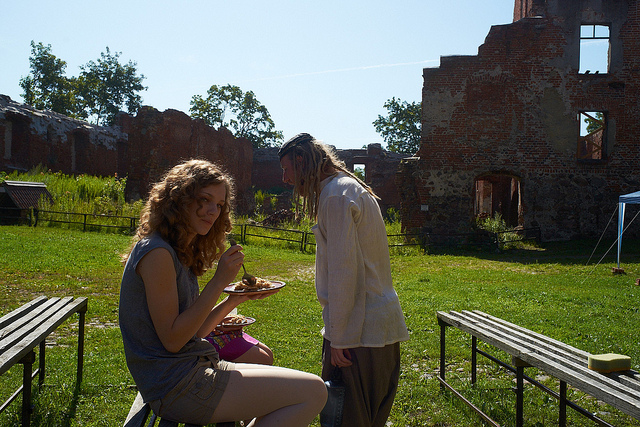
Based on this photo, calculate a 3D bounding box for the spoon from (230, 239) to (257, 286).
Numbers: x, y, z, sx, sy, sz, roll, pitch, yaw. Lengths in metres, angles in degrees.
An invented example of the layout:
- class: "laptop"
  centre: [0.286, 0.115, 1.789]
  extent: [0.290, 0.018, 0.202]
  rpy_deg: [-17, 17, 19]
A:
- class: "spoon"
  centre: [-0.900, 0.552, 5.930]
  extent: [0.138, 0.647, 0.095]
  rpy_deg: [-11, -31, -29]

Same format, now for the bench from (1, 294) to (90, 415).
- class: "bench"
  centre: [-3.502, 1.849, 6.569]
  extent: [0.332, 0.732, 1.193]
  rpy_deg: [1, 4, -2]
